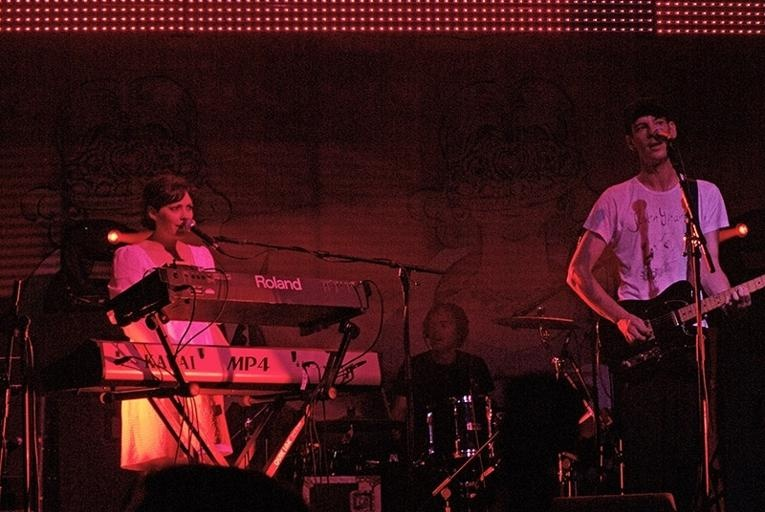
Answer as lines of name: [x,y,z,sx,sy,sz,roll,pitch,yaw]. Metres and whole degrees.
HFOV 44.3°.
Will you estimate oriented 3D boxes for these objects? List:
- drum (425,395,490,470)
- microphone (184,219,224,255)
drum: [0.550,1.290,6.972,0.549,0.478,0.457,2,-6,-16]
microphone: [-1.250,-0.131,6.511,0.100,0.330,0.090,-35,-26,-32]
